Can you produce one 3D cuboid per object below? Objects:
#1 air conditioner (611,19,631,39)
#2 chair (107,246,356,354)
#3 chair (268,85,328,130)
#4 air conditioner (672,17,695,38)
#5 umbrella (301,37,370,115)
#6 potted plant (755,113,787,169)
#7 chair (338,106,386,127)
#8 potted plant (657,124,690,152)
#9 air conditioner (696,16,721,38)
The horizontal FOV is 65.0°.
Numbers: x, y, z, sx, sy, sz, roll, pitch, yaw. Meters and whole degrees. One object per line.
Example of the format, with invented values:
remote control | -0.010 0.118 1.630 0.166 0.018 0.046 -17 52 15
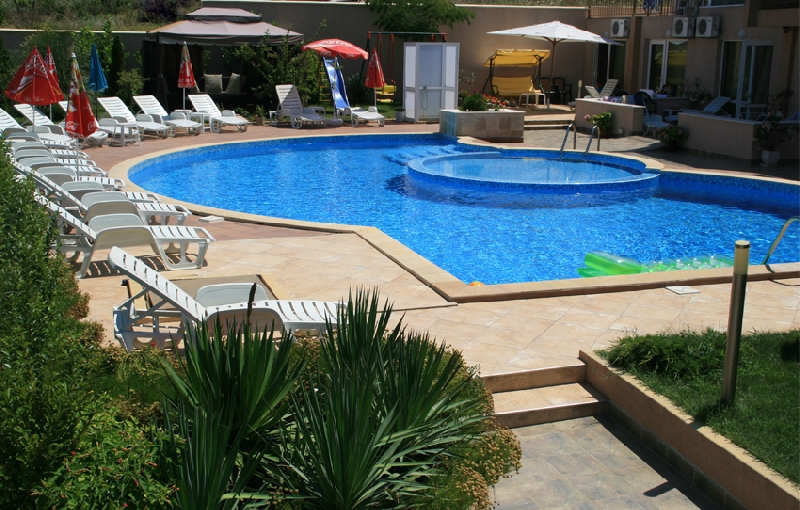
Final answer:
air conditioner | 8.877 -9.082 25.249 0.474 0.808 0.895 0 6 -3
chair | -1.528 0.393 5.909 2.168 0.726 0.600 -1 10 -16
chair | -3.749 -5.279 22.516 0.917 1.203 2.098 -15 31 -31
air conditioner | 9.984 -8.010 22.095 0.459 0.745 0.826 -1 7 -14
umbrella | -2.661 -6.689 23.255 2.501 2.379 2.323 -18 33 -36
potted plant | 9.231 -2.843 15.948 0.778 1.266 0.850 8 10 34
chair | -1.420 -4.935 22.246 0.887 0.447 1.531 -10 28 -25
potted plant | 7.786 -3.312 17.885 0.700 0.674 0.495 -3 19 2
air conditioner | 10.564 -7.803 21.500 0.411 0.783 0.835 -2 4 -23
